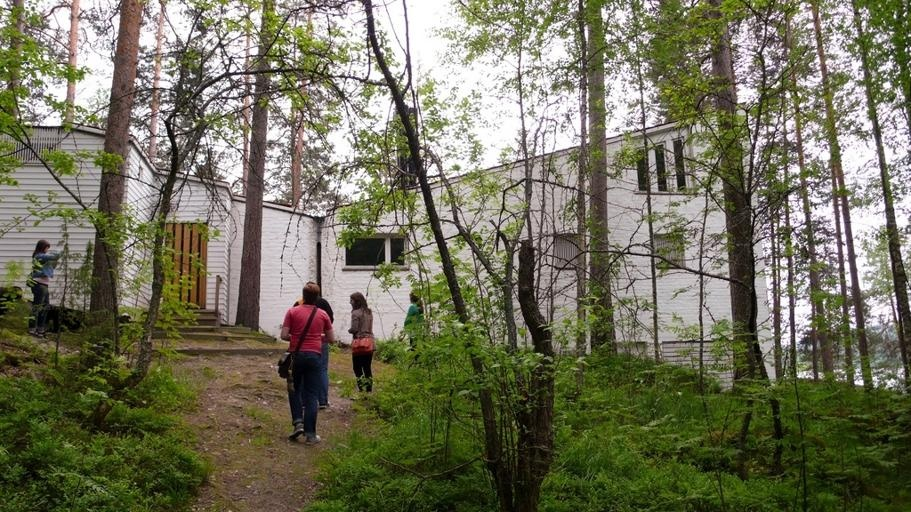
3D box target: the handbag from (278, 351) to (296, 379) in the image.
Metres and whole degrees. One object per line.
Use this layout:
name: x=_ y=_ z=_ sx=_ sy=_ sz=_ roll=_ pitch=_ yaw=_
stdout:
handbag: x=-3.563 y=2.351 z=15.554 sx=0.248 sy=0.540 sz=0.377 roll=12 pitch=-14 yaw=-40

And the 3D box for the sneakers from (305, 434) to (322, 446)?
sneakers: x=-3.044 y=3.970 z=15.657 sx=0.148 sy=0.240 sz=0.374 roll=2 pitch=4 yaw=17

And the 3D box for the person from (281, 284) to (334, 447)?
person: x=-3.178 y=2.313 z=15.769 sx=0.968 sy=3.394 sz=0.919 roll=1 pitch=-11 yaw=4

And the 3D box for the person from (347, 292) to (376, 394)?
person: x=-2.282 y=2.152 z=17.967 sx=0.606 sy=2.414 sz=1.066 roll=3 pitch=-11 yaw=-4
